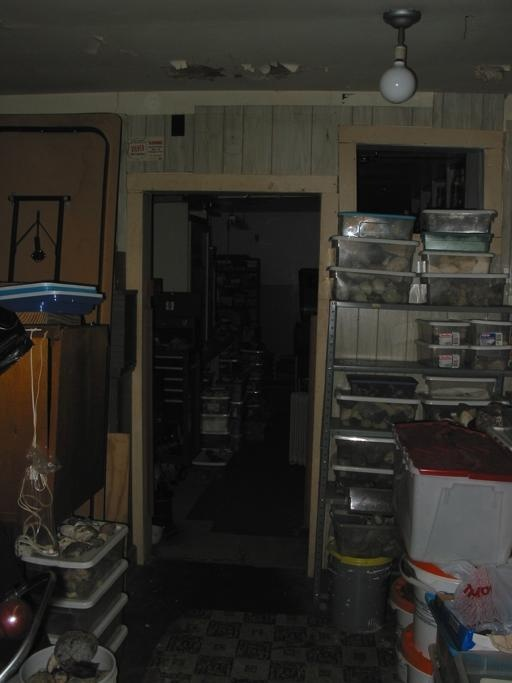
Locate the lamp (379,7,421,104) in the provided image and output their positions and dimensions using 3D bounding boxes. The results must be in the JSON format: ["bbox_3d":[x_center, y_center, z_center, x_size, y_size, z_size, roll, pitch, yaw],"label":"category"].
[{"bbox_3d":[0.598,-1.151,2.489,0.147,0.280,0.398,2,5,11],"label":"lamp"}]

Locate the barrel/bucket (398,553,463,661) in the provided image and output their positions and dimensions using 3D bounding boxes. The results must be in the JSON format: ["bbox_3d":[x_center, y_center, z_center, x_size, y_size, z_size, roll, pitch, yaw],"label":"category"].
[{"bbox_3d":[0.648,1.029,2.290,0.100,0.396,0.287,-1,5,-19],"label":"barrel/bucket"}]

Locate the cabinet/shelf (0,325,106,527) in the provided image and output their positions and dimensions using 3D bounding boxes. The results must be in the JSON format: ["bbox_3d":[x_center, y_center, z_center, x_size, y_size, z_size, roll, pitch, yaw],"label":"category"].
[{"bbox_3d":[-0.875,0.342,2.543,0.277,0.850,0.840,1,5,2],"label":"cabinet/shelf"}]

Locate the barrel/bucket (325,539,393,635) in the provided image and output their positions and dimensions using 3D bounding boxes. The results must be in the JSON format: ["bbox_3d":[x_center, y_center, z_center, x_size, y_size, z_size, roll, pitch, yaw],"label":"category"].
[{"bbox_3d":[0.525,1.195,3.054,0.311,0.362,0.361,0,3,20],"label":"barrel/bucket"}]
